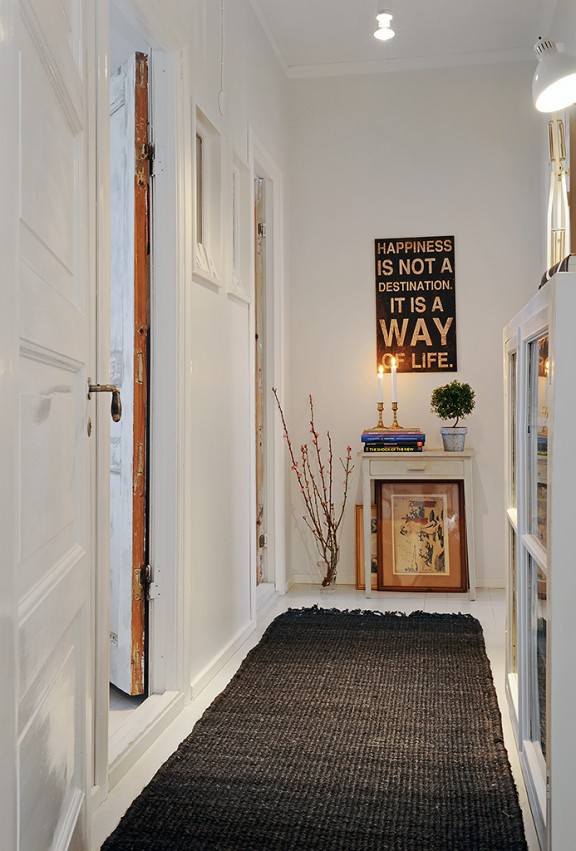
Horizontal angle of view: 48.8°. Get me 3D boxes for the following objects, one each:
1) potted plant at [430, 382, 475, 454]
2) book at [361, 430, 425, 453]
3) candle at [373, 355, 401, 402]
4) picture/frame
[{"bbox_3d":[0.945,-0.056,3.644,0.250,0.411,0.281,-1,-2,20],"label":"potted plant"},{"bbox_3d":[0.591,0.084,3.571,0.346,0.127,0.086,-1,-2,7],"label":"book"},{"bbox_3d":[0.581,-0.281,3.712,0.126,0.310,0.248,-1,-2,10],"label":"candle"},{"bbox_3d":[0.759,0.621,3.615,0.489,0.907,0.038,0,35,15],"label":"picture/frame"}]
